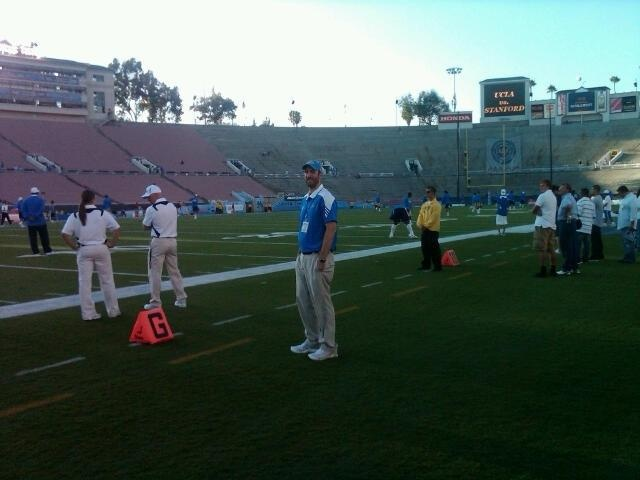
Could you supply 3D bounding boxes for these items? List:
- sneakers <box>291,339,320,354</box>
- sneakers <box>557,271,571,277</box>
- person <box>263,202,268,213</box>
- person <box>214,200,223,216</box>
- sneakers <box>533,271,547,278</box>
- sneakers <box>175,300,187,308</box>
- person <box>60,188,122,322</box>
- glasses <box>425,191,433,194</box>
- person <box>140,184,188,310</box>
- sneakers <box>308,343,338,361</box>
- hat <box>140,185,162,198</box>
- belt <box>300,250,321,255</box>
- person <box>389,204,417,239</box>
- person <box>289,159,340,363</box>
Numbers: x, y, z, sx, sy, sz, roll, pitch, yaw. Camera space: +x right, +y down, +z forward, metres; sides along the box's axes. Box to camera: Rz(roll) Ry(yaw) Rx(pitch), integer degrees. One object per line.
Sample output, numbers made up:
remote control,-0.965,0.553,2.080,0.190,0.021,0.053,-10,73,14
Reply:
sneakers,-0.187,1.300,7.021,0.348,0.231,0.153,2,-5,9
sneakers,5.134,0.717,12.085,0.330,0.135,0.119,2,0,5
person,-5.498,-3.197,56.997,0.484,0.781,0.434,1,7,17
person,-9.555,-3.027,54.235,0.776,1.069,1.093,-2,7,-11
sneakers,4.549,0.708,11.827,0.117,0.200,0.297,-1,5,-31
sneakers,-2.316,1.063,9.522,0.091,0.169,0.251,0,4,-38
person,-3.584,0.218,9.030,0.831,1.964,1.066,-4,7,-20
glasses,2.476,-1.071,13.013,0.140,0.102,0.119,4,-1,-8
person,-2.564,0.130,9.366,0.681,2.020,0.913,-3,7,-14
sneakers,0.039,1.316,6.682,0.325,0.221,0.153,2,-5,-9
hat,-2.715,-0.765,9.216,0.274,0.202,0.482,-3,8,-19
belt,-0.128,0.148,6.686,0.283,0.063,0.063,4,9,37
person,3.118,-0.924,22.249,0.952,0.713,2.320,0,51,4
person,-0.083,0.219,6.850,0.577,2.287,0.797,-1,7,-1
